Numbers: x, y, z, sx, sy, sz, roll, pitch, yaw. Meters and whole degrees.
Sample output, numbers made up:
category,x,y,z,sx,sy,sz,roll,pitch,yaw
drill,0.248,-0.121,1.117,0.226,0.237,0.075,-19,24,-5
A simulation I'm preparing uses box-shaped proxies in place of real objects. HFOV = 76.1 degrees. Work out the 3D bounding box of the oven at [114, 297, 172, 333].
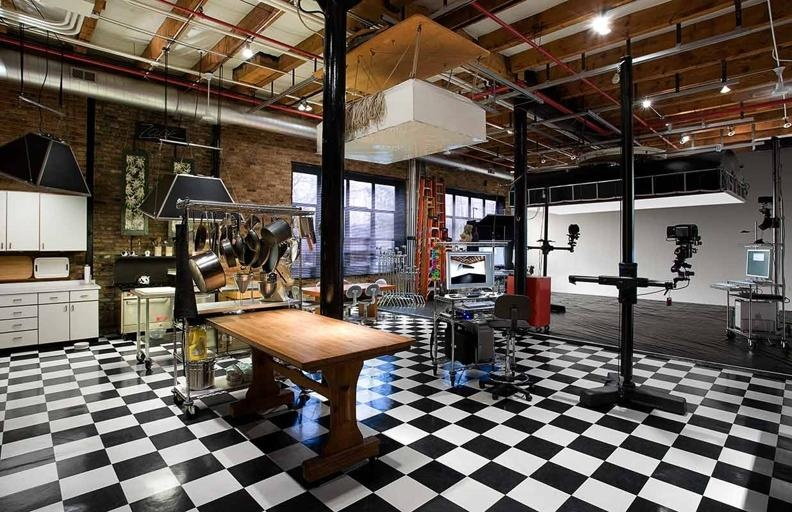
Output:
category,x,y,z,sx,sy,sz,roll,pitch,yaw
oven,-5.253,1.273,10.664,1.020,0.884,0.707,0,-26,-37

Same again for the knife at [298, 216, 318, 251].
category,x,y,z,sx,sy,sz,roll,pitch,yaw
knife,-1.314,-0.323,7.904,0.171,0.563,0.335,-17,22,-42

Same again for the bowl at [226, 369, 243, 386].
category,x,y,z,sx,sy,sz,roll,pitch,yaw
bowl,-2.482,1.871,7.768,0.262,0.220,0.251,-3,-2,0

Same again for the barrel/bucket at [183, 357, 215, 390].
category,x,y,z,sx,sy,sz,roll,pitch,yaw
barrel/bucket,-3.139,1.835,7.742,0.454,0.442,0.433,4,-18,1

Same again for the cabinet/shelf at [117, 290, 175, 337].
category,x,y,z,sx,sy,sz,roll,pitch,yaw
cabinet/shelf,-5.246,1.158,10.623,1.012,0.858,0.705,-2,-4,-41

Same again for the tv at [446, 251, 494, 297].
category,x,y,z,sx,sy,sz,roll,pitch,yaw
tv,1.285,0.261,9.107,1.041,0.657,0.107,-2,0,-34

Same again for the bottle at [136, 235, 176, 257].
category,x,y,z,sx,sy,sz,roll,pitch,yaw
bottle,-5.275,-0.184,11.073,0.744,0.432,0.280,-2,1,-24

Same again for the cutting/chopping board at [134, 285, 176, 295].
category,x,y,z,sx,sy,sz,roll,pitch,yaw
cutting/chopping board,-4.389,0.681,9.147,0.629,0.171,0.803,-2,0,-26

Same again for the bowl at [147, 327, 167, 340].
category,x,y,z,sx,sy,sz,roll,pitch,yaw
bowl,-4.834,1.583,10.182,0.536,0.168,0.515,1,-3,0

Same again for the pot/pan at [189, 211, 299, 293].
category,x,y,z,sx,sy,sz,roll,pitch,yaw
pot/pan,-2.271,0.083,7.778,1.487,1.303,0.639,-2,-24,-12

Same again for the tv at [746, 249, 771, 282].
category,x,y,z,sx,sy,sz,roll,pitch,yaw
tv,7.971,0.223,11.119,0.260,0.634,0.678,11,-12,4

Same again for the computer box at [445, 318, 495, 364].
category,x,y,z,sx,sy,sz,roll,pitch,yaw
computer box,1.339,1.597,9.220,0.537,0.760,0.959,1,-4,-23

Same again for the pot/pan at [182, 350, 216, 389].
category,x,y,z,sx,sy,sz,roll,pitch,yaw
pot/pan,-3.005,1.863,7.770,0.510,0.400,0.368,-9,-14,34

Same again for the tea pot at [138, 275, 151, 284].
category,x,y,z,sx,sy,sz,roll,pitch,yaw
tea pot,-5.373,0.548,10.829,0.240,0.186,0.172,-4,-3,40

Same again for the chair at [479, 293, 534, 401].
category,x,y,z,sx,sy,sz,roll,pitch,yaw
chair,1.836,1.461,8.446,0.785,1.132,1.048,-2,1,9
